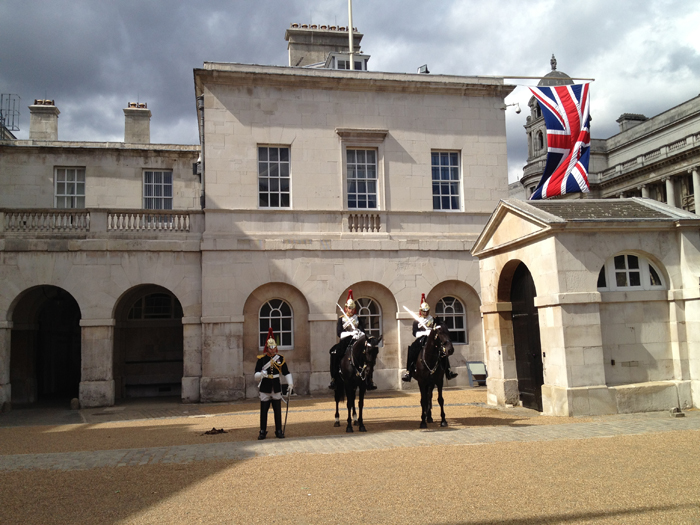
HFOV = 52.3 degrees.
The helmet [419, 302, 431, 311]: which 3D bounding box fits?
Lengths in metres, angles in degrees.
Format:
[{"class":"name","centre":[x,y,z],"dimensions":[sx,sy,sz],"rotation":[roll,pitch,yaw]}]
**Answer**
[{"class":"helmet","centre":[2.082,1.235,19.960],"dimensions":[0.205,0.182,0.299],"rotation":[1,-11,-2]}]

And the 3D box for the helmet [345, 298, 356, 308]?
[{"class":"helmet","centre":[0.010,1.160,20.226],"dimensions":[0.449,0.250,0.649],"rotation":[1,-9,0]}]

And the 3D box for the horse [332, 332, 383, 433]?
[{"class":"horse","centre":[0.114,3.232,19.196],"dimensions":[0.769,2.488,3.414],"rotation":[4,-8,-14]}]

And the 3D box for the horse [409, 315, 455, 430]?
[{"class":"horse","centre":[2.194,3.017,18.996],"dimensions":[0.966,2.656,1.782],"rotation":[-1,-7,5]}]
